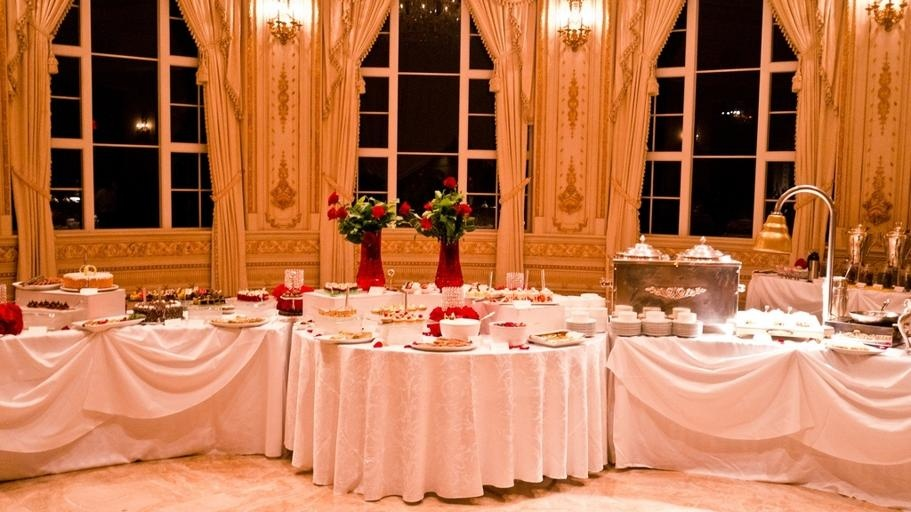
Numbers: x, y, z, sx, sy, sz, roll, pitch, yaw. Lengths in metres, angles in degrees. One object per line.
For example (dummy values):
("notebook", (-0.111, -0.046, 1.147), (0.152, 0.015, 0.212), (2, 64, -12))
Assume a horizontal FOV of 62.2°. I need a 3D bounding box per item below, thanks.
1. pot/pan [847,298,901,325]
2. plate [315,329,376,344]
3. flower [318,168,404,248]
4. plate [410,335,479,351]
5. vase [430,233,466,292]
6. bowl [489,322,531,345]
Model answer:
("pot/pan", (4.078, 0.552, 7.326), (0.377, 0.149, 0.288), (-1, -5, 0))
("plate", (-1.019, 0.748, 6.983), (0.524, 0.108, 0.211), (-1, 1, -10))
("flower", (-0.948, -0.453, 8.156), (0.914, 0.633, 0.917), (8, 7, 14))
("plate", (-0.118, 0.801, 6.880), (0.620, 0.114, 0.272), (-1, 1, 0))
("vase", (-0.122, 0.081, 7.919), (0.437, 0.654, 0.437), (-2, -2, 32))
("bowl", (0.497, 0.709, 7.002), (0.243, 0.116, 0.236), (2, -2, 0))
